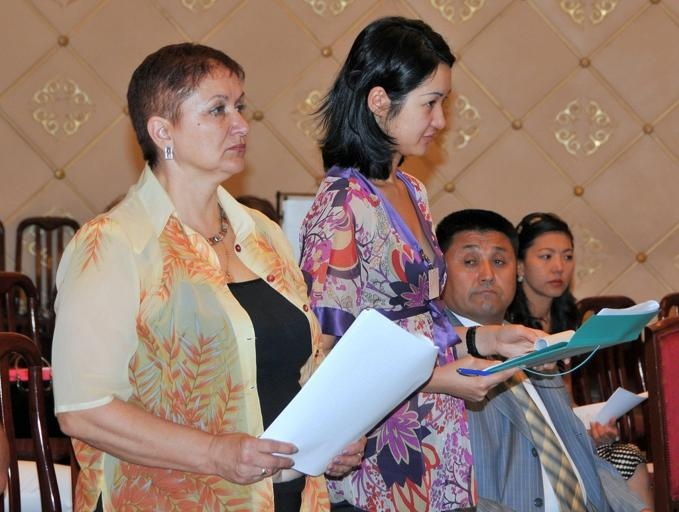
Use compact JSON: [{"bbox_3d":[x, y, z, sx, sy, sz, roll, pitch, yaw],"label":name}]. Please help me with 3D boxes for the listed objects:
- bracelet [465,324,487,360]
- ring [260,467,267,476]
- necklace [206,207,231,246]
[{"bbox_3d":[0.434,0.297,2.306,0.054,0.106,0.101,-17,-1,11],"label":"bracelet"},{"bbox_3d":[-0.176,0.504,1.644,0.005,0.021,0.014,17,3,31],"label":"ring"},{"bbox_3d":[-0.325,-0.080,1.906,0.018,0.082,0.076,14,9,-12],"label":"necklace"}]
